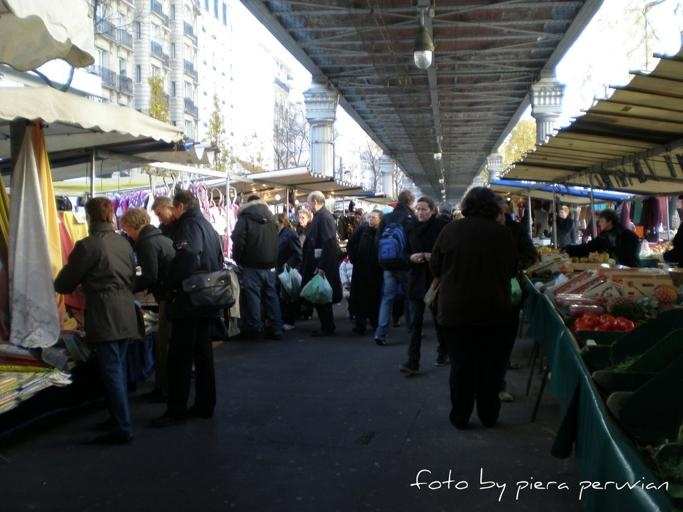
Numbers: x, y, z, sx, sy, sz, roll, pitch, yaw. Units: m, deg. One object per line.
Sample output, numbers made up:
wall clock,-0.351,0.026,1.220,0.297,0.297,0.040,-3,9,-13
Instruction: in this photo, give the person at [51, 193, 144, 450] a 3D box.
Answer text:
person,-2.029,0.538,4.528,0.598,2.080,0.356,-2,3,-23

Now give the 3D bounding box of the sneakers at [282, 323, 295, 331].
sneakers,-0.944,1.260,9.459,0.149,0.136,0.384,13,-8,-4

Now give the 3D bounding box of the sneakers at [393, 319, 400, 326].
sneakers,0.986,1.216,9.708,0.060,0.135,0.185,-1,-10,3

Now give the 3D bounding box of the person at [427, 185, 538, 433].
person,1.132,0.461,4.611,0.729,2.114,0.377,0,2,9

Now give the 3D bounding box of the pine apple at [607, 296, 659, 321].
pine apple,2.376,0.437,4.370,0.219,0.101,0.229,1,-18,23

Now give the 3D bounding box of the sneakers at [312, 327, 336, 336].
sneakers,-0.326,1.252,9.004,0.441,0.205,0.148,3,-6,5

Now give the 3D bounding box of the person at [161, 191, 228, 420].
person,-1.407,0.446,5.080,0.520,2.167,0.554,-1,2,-9

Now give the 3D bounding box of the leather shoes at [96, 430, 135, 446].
leather shoes,-1.899,1.539,4.575,0.309,0.131,0.116,8,-6,-3

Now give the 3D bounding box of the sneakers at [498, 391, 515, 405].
sneakers,1.676,1.443,5.426,0.106,0.113,0.260,1,8,13

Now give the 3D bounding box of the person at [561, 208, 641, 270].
person,4.166,-0.301,8.529,0.968,0.884,0.547,1,3,31

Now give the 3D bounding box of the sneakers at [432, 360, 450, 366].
sneakers,1.256,1.362,6.835,0.071,0.099,0.205,-7,-11,40

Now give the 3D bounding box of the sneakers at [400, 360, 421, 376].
sneakers,0.824,1.324,6.435,0.268,0.175,0.214,-1,3,-7

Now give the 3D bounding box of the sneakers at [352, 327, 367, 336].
sneakers,0.304,1.246,9.016,0.205,0.127,0.291,-1,3,0
